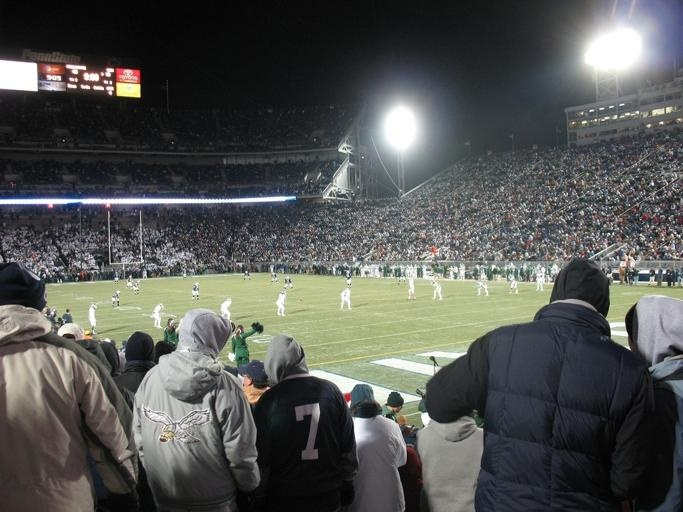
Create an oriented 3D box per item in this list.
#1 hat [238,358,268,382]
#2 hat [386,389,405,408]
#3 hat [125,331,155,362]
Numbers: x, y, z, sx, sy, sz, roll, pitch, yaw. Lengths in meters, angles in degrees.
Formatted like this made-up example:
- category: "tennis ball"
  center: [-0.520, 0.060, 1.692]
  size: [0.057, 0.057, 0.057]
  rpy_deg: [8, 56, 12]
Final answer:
- category: "hat"
  center: [-0.867, 1.122, 5.728]
  size: [0.147, 0.205, 0.355]
  rpy_deg: [-5, 1, -31]
- category: "hat"
  center: [0.524, 1.466, 5.924]
  size: [0.152, 0.185, 0.211]
  rpy_deg: [3, 3, 31]
- category: "hat"
  center: [-1.966, 0.886, 5.671]
  size: [0.246, 0.318, 0.222]
  rpy_deg: [-5, 1, -23]
